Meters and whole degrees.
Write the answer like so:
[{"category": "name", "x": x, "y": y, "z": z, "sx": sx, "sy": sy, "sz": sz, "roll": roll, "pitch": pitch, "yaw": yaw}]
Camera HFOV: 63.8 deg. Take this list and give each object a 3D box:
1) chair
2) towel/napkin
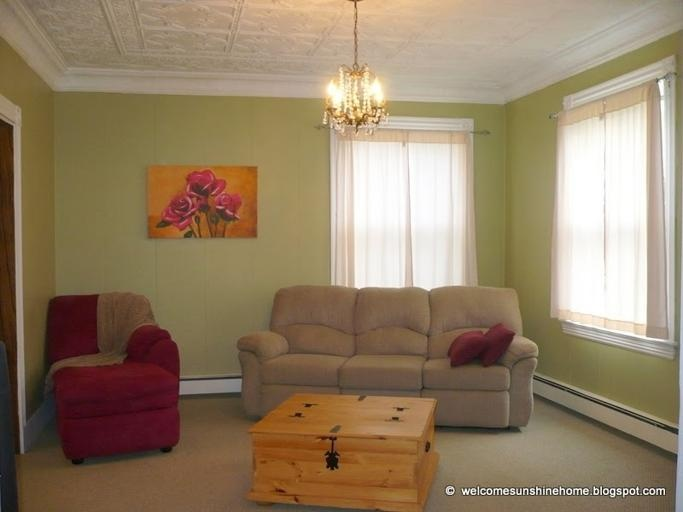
[{"category": "chair", "x": -2.121, "y": 1.020, "z": 4.970, "sx": 1.041, "sy": 1.327, "sz": 1.519, "roll": 2, "pitch": -2, "yaw": -37}, {"category": "towel/napkin", "x": -2.329, "y": 0.781, "z": 5.202, "sx": 0.910, "sy": 0.921, "sz": 0.415, "roll": -1, "pitch": -10, "yaw": -18}]
